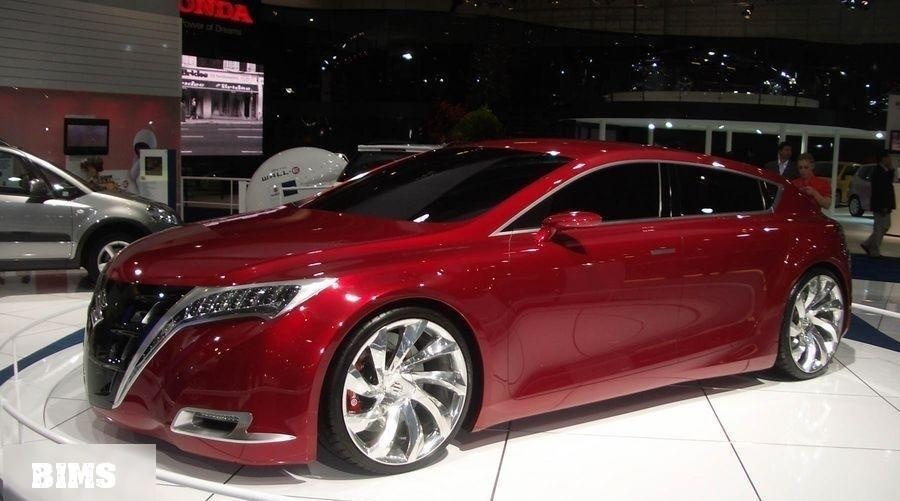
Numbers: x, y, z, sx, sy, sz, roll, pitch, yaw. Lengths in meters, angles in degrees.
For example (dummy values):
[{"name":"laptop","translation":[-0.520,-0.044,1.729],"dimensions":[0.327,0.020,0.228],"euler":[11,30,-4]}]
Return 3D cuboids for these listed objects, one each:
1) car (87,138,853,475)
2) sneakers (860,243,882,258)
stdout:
[{"name":"car","translation":[0.384,0.278,4.370],"dimensions":[5.331,1.521,2.499],"euler":[-2,5,-28]},{"name":"sneakers","translation":[9.906,0.010,12.546],"dimensions":[0.201,0.222,0.534],"euler":[16,21,-47]}]
